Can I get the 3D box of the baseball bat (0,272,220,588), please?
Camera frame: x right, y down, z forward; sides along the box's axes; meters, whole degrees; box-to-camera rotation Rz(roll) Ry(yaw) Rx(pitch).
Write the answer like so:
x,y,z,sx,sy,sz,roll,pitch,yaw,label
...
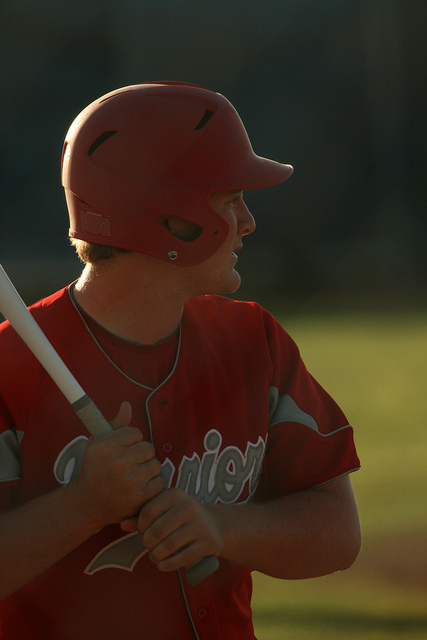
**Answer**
x,y,z,sx,sy,sz,roll,pitch,yaw,label
-0.218,0.239,1.594,0.098,0.798,0.087,-41,10,-36,baseball bat
